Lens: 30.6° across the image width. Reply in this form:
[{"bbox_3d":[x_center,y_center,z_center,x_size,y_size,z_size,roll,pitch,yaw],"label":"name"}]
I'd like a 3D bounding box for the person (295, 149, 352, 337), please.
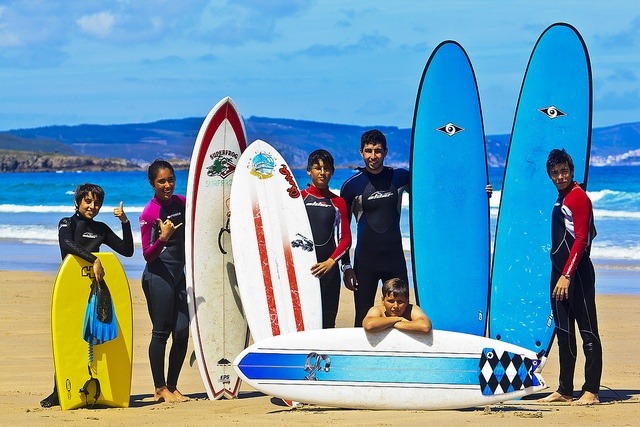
[{"bbox_3d":[0.098,0.335,14.885,0.504,2.359,0.768,-8,14,-33],"label":"person"}]

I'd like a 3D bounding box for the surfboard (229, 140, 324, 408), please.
[{"bbox_3d":[-0.569,0.793,15.335,1.119,3.398,0.492,-12,-3,-3],"label":"surfboard"}]

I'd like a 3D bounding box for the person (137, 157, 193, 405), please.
[{"bbox_3d":[-1.930,0.856,14.581,0.564,3.046,0.646,-2,12,-8],"label":"person"}]
